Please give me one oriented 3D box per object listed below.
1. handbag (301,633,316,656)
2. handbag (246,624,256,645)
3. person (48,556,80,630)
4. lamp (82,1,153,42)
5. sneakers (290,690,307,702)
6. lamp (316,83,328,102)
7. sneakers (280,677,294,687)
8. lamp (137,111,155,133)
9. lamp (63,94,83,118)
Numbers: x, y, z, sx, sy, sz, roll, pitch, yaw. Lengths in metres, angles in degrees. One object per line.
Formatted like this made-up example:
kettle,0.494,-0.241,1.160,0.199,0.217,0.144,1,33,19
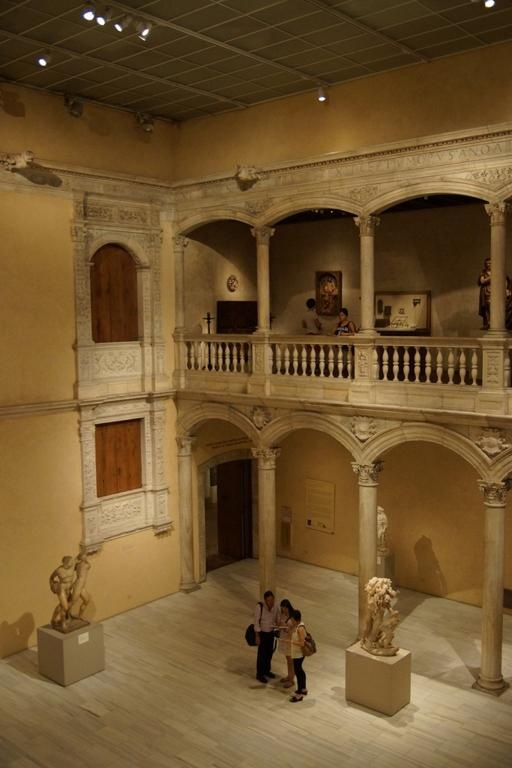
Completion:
handbag,0.590,2.946,6.468,0.127,0.327,0.344,-1,-3,5
handbag,-0.054,2.997,6.854,0.116,0.311,0.291,-1,-3,-2
person,-2.585,2.762,7.681,0.316,1.000,0.920,0,-3,-19
lamp,-1.370,-3.610,5.686,0.580,0.171,0.235,37,44,18
sneakers,0.497,3.670,6.772,0.077,0.061,0.224,-2,-6,22
lamp,0.925,-4.082,8.117,0.187,0.309,0.196,3,3,4
sneakers,0.381,3.696,7.118,0.119,0.058,0.163,5,5,28
lamp,-1.876,-4.447,9.742,0.117,0.310,0.472,-2,-3,23
lamp,-2.731,-4.181,8.639,0.071,0.275,0.201,27,47,32
